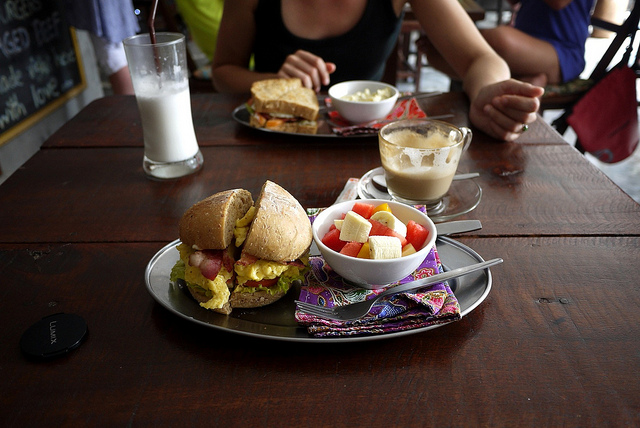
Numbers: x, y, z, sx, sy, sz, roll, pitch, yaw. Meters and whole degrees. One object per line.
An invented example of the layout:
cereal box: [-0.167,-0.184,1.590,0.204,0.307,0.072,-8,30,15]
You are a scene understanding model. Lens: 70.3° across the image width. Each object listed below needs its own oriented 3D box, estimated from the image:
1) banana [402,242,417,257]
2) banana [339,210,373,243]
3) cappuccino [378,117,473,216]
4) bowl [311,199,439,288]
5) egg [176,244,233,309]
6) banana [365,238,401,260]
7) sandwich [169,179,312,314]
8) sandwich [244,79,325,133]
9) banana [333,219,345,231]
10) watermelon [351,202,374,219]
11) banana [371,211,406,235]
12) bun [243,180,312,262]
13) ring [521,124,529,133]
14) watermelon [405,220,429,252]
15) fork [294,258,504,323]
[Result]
banana: [0.181,0.072,0.923,0.022,0.006,0.023,-30,20,10]
banana: [0.065,0.022,0.951,0.061,0.058,0.056,21,2,-15]
cappuccino: [0.244,-0.134,1.234,0.228,0.258,0.272,-2,12,5]
bowl: [0.117,0.030,0.944,0.209,0.110,0.207,1,24,0]
egg: [-0.232,0.116,0.914,0.090,0.107,0.114,-1,12,-21]
banana: [0.128,0.067,0.900,0.060,0.022,0.040,-2,44,-9]
sandwich: [-0.181,0.060,1.038,0.310,0.204,0.349,10,11,1]
sandwich: [-0.125,-0.400,1.613,0.268,0.095,0.312,-2,44,-9]
banana: [0.036,0.024,0.957,0.020,0.018,0.005,11,17,32]
watermelon: [0.092,-0.009,0.998,0.044,0.037,0.032,21,41,12]
banana: [0.152,0.014,0.989,0.060,0.050,0.048,35,28,21]
bun: [-0.093,-0.007,0.998,0.161,0.106,0.218,12,28,-21]
ring: [0.679,-0.283,1.502,0.017,0.027,0.029,-17,18,-37]
watermelon: [0.200,0.043,0.950,0.054,0.059,0.054,20,6,-14]
fork: [0.152,0.156,0.909,0.357,0.047,0.043,-12,24,-10]
